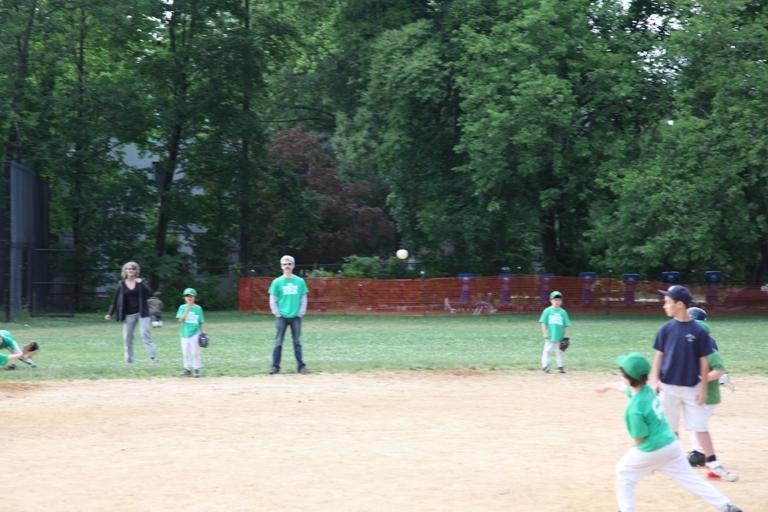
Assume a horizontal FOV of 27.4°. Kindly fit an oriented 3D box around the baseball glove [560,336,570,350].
[{"bbox_3d":[6.820,3.275,59.275,0.289,0.454,0.273,-3,-3,21],"label":"baseball glove"}]

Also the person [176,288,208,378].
[{"bbox_3d":[-7.215,2.840,59.107,0.928,3.300,1.490,-1,-3,-7],"label":"person"}]
